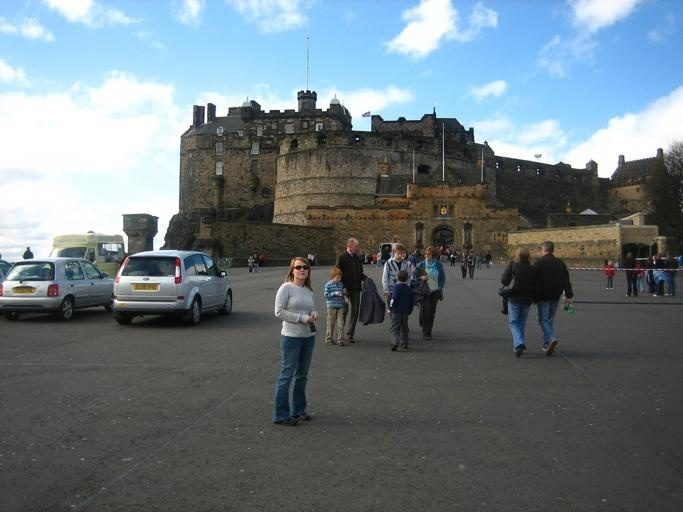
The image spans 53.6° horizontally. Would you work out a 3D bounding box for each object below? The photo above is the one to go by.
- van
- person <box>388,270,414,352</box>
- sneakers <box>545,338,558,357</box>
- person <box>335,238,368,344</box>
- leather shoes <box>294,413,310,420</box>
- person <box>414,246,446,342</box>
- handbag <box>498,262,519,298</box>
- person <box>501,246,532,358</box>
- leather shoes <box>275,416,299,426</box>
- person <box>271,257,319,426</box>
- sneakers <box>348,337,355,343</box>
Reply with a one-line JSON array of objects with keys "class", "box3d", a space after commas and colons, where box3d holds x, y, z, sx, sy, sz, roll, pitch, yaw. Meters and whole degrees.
[{"class": "van", "box3d": [-8.760, -0.049, 23.314, 1.871, 2.083, 3.357, -1, -3, 11]}, {"class": "person", "box3d": [0.984, 0.876, 11.039, 0.381, 1.278, 0.400, 1, 4, 5]}, {"class": "sneakers", "box3d": [3.241, 1.394, 10.363, 0.118, 0.140, 0.331, 0, -44, 3]}, {"class": "person", "box3d": [0.199, 0.587, 12.021, 0.609, 1.861, 0.602, 6, -10, -30]}, {"class": "leather shoes", "box3d": [-0.394, 1.682, 7.109, 0.182, 0.081, 0.063, -1, 2, -11]}, {"class": "person", "box3d": [1.639, 0.643, 12.477, 0.501, 1.684, 1.340, 1, 4, 9]}, {"class": "handbag", "box3d": [2.694, 0.366, 10.738, 0.308, 0.655, 0.478, 7, 18, 20]}, {"class": "person", "box3d": [2.768, 0.699, 10.682, 0.524, 1.668, 0.938, 1, 4, 16]}, {"class": "leather shoes", "box3d": [-0.559, 1.701, 6.961, 0.233, 0.103, 0.092, -2, 0, -3]}, {"class": "person", "box3d": [-0.476, 0.875, 7.145, 0.447, 1.708, 0.524, 0, 4, -2]}, {"class": "sneakers", "box3d": [0.192, 1.448, 11.945, 0.124, 0.115, 0.337, 0, 4, -1]}]
